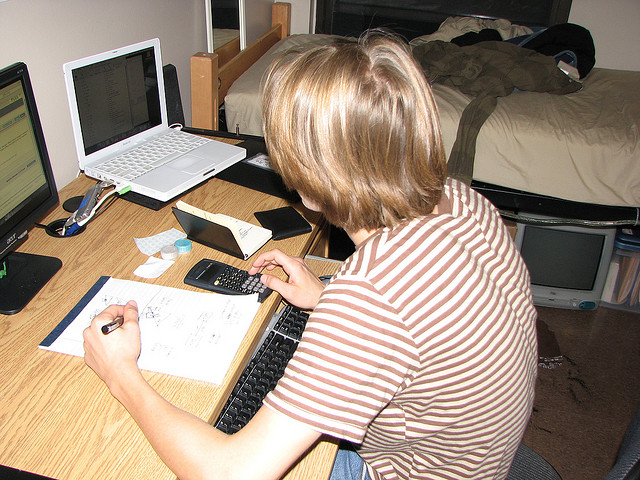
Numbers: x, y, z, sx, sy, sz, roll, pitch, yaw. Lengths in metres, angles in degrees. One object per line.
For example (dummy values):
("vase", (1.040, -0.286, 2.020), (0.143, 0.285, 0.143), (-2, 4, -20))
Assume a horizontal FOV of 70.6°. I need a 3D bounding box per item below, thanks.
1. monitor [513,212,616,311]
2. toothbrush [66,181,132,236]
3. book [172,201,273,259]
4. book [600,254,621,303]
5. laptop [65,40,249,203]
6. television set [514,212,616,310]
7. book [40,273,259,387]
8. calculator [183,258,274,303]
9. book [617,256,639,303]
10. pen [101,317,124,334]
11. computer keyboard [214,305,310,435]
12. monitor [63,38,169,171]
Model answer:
("monitor", (1.167, 0.066, 2.176), (0.438, 0.474, 0.261), (4, 34, 13))
("toothbrush", (-0.648, -0.111, 1.377), (0.045, 0.067, 0.253), (2, 39, 44))
("book", (-0.275, -0.044, 1.268), (0.214, 0.152, 0.183), (17, 40, 21))
("book", (1.555, 0.200, 2.430), (0.051, 0.217, 0.164), (10, 17, 23))
("laptop", (-0.516, -0.405, 1.444), (0.418, 0.325, 0.484), (28, 38, 22))
("television set", (1.304, 0.086, 2.454), (0.444, 0.488, 0.272), (7, 21, 30))
("book", (-0.313, 0.178, 1.007), (0.316, 0.033, 0.232), (11, 35, 9))
("calculator", (-0.240, 0.096, 1.147), (0.206, 0.028, 0.095), (15, 43, 12))
("book", (1.619, 0.213, 2.420), (0.103, 0.262, 0.051), (16, 37, 19))
("pen", (-0.416, 0.170, 0.908), (0.013, 0.013, 0.050), (25, 11, -2))
("computer keyboard", (-0.123, 0.282, 1.040), (0.083, 0.036, 0.370), (13, 36, 15))
("monitor", (-0.641, -0.464, 1.460), (0.018, 0.315, 0.402), (17, 38, 20))
